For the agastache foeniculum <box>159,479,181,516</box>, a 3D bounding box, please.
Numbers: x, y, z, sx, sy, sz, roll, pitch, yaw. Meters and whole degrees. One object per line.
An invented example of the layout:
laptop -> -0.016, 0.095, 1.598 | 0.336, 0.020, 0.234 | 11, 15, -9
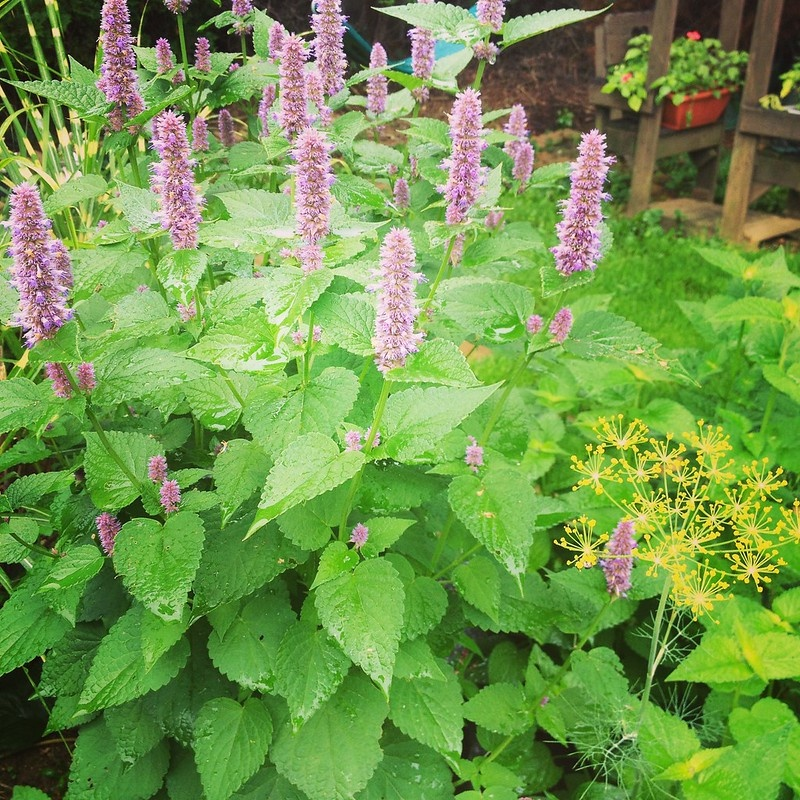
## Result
agastache foeniculum -> -0.720, 0.296, 2.517 | 0.061, 0.102, 0.087 | -5, 28, -17

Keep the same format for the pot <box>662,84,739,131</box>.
pot -> 3.019, -2.957, 8.294 | 0.777, 0.213, 0.462 | -13, 27, -23

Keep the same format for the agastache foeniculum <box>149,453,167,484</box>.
agastache foeniculum -> -0.772, 0.217, 2.562 | 0.057, 0.079, 0.110 | -6, 27, -19

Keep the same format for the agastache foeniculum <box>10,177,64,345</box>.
agastache foeniculum -> -1.042, -0.377, 2.315 | 0.139, 0.469, 0.226 | -7, 30, -20
